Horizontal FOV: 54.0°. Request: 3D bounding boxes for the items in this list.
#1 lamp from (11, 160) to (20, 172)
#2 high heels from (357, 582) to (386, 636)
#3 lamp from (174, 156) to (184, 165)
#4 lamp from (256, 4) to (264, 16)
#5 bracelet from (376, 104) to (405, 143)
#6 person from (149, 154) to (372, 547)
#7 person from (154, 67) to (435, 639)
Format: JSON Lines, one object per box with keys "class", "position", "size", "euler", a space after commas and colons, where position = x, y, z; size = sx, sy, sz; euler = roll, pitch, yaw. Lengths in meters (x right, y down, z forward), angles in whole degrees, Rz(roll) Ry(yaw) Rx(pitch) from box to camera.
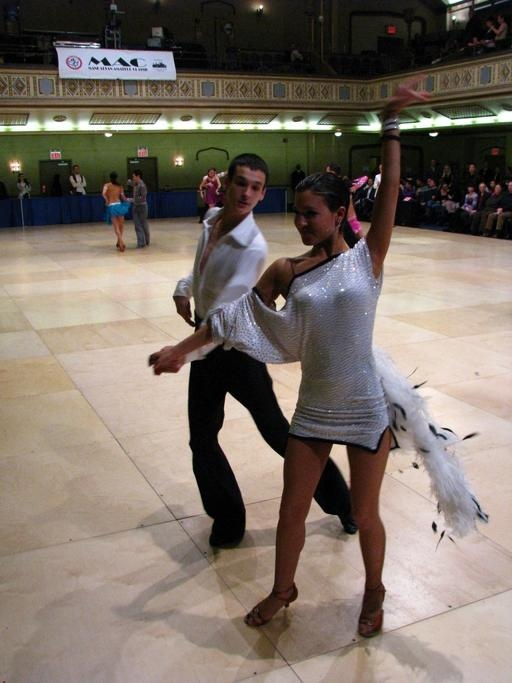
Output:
{"class": "lamp", "position": [-10.022, -7.319, 20.925], "size": [0.467, 0.388, 0.118], "euler": [2, 3, -12]}
{"class": "high heels", "position": [0.383, 0.862, 1.646], "size": [0.066, 0.165, 0.076], "euler": [-6, -32, 35]}
{"class": "lamp", "position": [-3.536, -8.332, 23.212], "size": [0.425, 0.345, 0.373], "euler": [-1, -31, -2]}
{"class": "lamp", "position": [0.214, -15.490, 23.440], "size": [0.262, 0.571, 0.418], "euler": [6, 50, 2]}
{"class": "bracelet", "position": [0.389, -0.618, 1.415], "size": [0.044, 0.094, 0.076], "euler": [5, -9, -7]}
{"class": "person", "position": [0.006, 0.087, 1.991], "size": [0.835, 1.574, 0.604], "euler": [0, 15, 11]}
{"class": "person", "position": [0.131, 0.117, 1.546], "size": [0.696, 1.678, 0.309], "euler": [1, 11, 13]}
